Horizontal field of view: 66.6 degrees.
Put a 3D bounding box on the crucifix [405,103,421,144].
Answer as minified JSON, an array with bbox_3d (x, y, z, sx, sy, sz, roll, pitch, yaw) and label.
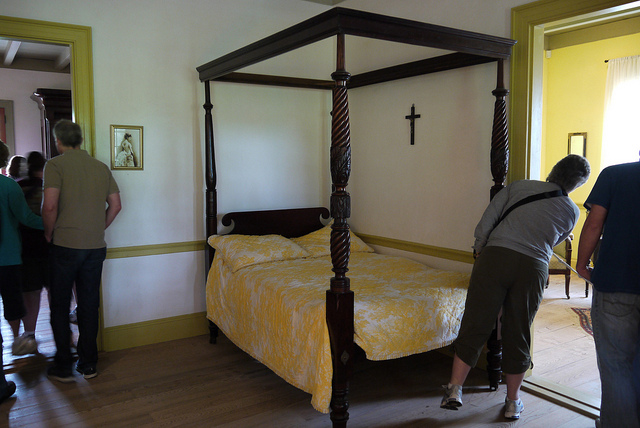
[{"bbox_3d":[1.074,-1.047,5.661,0.064,0.452,0.184,-9,15,-33],"label":"crucifix"}]

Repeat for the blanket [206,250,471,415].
[{"bbox_3d":[0.467,0.891,4.722,1.721,0.639,1.698,-7,12,-37],"label":"blanket"}]
